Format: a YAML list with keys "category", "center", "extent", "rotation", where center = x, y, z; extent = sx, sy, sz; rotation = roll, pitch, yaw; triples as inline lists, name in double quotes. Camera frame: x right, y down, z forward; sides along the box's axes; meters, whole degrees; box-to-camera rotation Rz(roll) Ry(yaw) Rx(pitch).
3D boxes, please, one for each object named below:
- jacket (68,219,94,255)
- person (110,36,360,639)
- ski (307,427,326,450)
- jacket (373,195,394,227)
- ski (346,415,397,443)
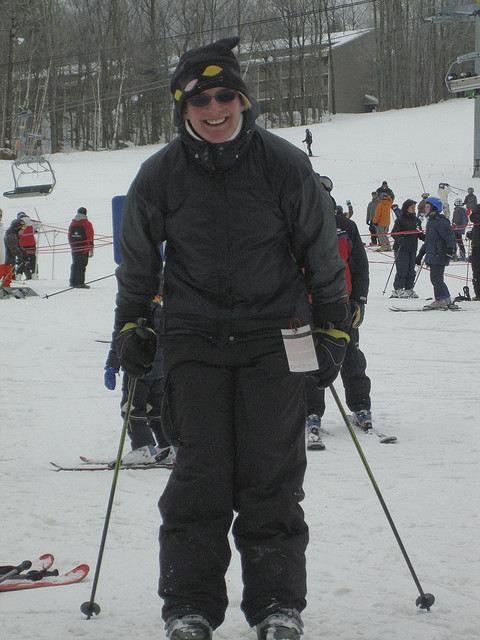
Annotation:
- category: "jacket"
  center: [-2.592, -1.351, 14.504]
  extent: [0.373, 0.560, 0.590]
  rotation: [-2, 9, -11]
- category: "person"
  center: [-0.049, 0.058, 2.543]
  extent: [0.719, 1.740, 0.696]
  rotation: [1, 9, 6]
- category: "ski"
  center: [0.431, 0.691, 5.148]
  extent: [0.084, 0.096, 0.234]
  rotation: [-1, -12, 3]
- category: "jacket"
  center: [2.889, -2.204, 18.170]
  extent: [0.368, 0.632, 0.653]
  rotation: [1, 9, 8]
- category: "ski"
  center: [0.771, 0.647, 5.596]
  extent: [0.167, 0.064, 0.823]
  rotation: [1, 5, -15]
